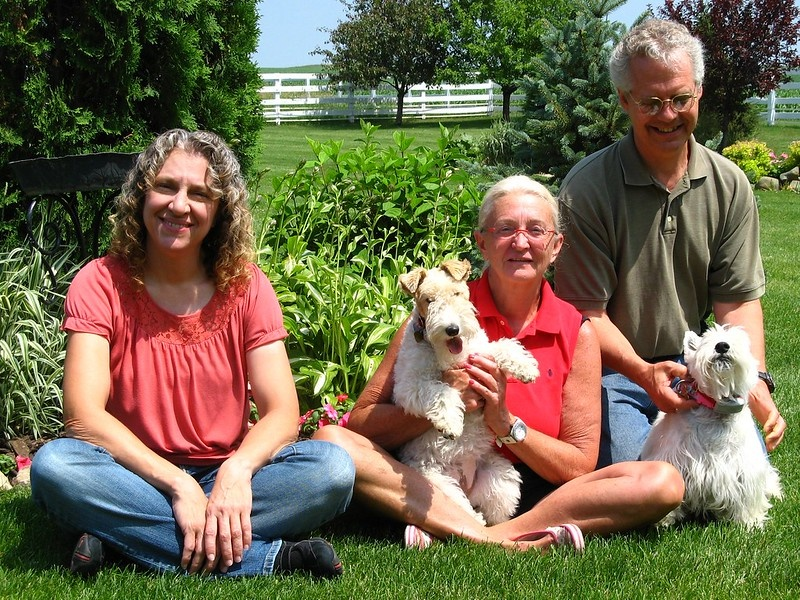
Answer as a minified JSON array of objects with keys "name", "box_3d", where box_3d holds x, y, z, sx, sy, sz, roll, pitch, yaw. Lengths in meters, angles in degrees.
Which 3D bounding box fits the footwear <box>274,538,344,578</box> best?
[{"name":"footwear","box_3d":[-0.449,1.254,3.660,0.290,0.145,0.169,-2,6,12]}]

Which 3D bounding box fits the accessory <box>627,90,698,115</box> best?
[{"name":"accessory","box_3d":[1.565,-1.168,4.452,0.353,0.121,0.112,4,11,21]}]

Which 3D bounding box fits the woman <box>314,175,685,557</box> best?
[{"name":"woman","box_3d":[0.621,0.347,4.292,1.865,2.046,1.306,5,-5,21]}]

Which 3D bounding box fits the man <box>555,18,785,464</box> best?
[{"name":"man","box_3d":[1.675,-0.193,4.578,1.360,2.847,1.377,14,37,35]}]

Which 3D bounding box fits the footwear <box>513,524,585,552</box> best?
[{"name":"footwear","box_3d":[0.761,1.219,3.853,0.380,0.111,0.146,-16,42,16]}]

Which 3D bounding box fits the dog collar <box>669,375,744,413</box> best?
[{"name":"dog collar","box_3d":[1.681,0.537,4.075,0.228,0.066,0.191,25,4,10]}]

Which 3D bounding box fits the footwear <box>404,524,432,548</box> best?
[{"name":"footwear","box_3d":[0.100,1.252,3.932,0.148,0.093,0.110,0,10,2]}]

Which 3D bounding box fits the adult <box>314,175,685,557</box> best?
[{"name":"adult","box_3d":[0.669,0.342,4.255,1.852,2.027,1.244,3,-4,29]}]
